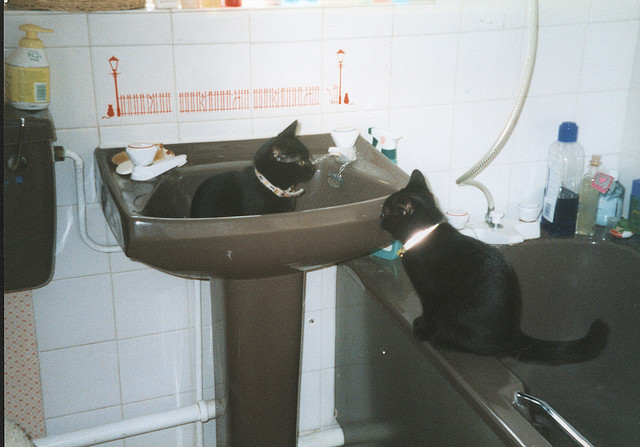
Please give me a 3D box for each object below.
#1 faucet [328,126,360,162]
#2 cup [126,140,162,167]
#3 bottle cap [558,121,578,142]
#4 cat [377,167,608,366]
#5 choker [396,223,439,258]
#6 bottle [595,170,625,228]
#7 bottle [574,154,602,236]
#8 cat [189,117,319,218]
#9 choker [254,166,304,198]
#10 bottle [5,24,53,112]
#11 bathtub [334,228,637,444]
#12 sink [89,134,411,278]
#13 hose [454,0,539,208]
[{"bbox_3d":[0.067,-0.233,1.623,0.097,0.092,0.092,-4,22,0],"label":"faucet"},{"bbox_3d":[-0.478,-0.185,1.495,0.088,0.061,0.088,3,20,-1],"label":"cup"},{"bbox_3d":[0.785,-0.289,1.751,0.061,0.067,0.062,12,21,31],"label":"bottle cap"},{"bbox_3d":[0.422,0.142,1.439,0.644,0.388,0.207,21,32,29],"label":"cat"},{"bbox_3d":[0.249,0.040,1.389,0.119,0.021,0.016,-36,20,4],"label":"choker"},{"bbox_3d":[0.987,-0.089,1.887,0.097,0.175,0.132,-5,12,-3],"label":"bottle"},{"bbox_3d":[0.883,-0.093,1.815,0.062,0.257,0.086,8,16,26],"label":"bottle"},{"bbox_3d":[-0.198,-0.108,1.558,0.374,0.329,0.214,3,26,20],"label":"cat"},{"bbox_3d":[-0.108,-0.091,1.469,0.101,0.031,0.083,40,13,-15],"label":"choker"},{"bbox_3d":[-0.722,-0.385,1.376,0.113,0.207,0.042,-5,16,-25],"label":"bottle"},{"bbox_3d":[0.471,0.356,1.593,0.738,0.462,0.741,-6,11,-29],"label":"bathtub"},{"bbox_3d":[-0.171,-0.007,1.476,0.853,0.434,0.446,-3,15,-17],"label":"sink"},{"bbox_3d":[0.553,-0.360,1.730,0.230,0.637,0.050,-3,15,-16],"label":"hose"}]
